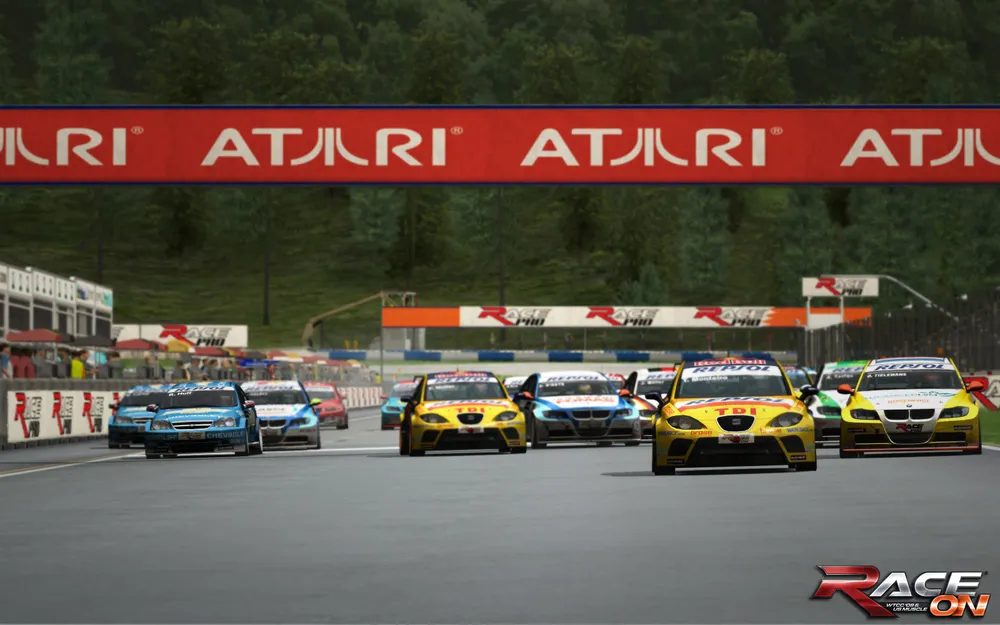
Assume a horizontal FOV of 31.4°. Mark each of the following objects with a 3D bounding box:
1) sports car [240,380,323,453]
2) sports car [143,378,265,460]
[{"bbox_3d":[-6.196,2.664,49.823,2.247,1.482,5.088,1,5,0],"label":"sports car"},{"bbox_3d":[-7.584,2.598,45.519,2.682,1.564,4.244,-1,3,-3],"label":"sports car"}]
